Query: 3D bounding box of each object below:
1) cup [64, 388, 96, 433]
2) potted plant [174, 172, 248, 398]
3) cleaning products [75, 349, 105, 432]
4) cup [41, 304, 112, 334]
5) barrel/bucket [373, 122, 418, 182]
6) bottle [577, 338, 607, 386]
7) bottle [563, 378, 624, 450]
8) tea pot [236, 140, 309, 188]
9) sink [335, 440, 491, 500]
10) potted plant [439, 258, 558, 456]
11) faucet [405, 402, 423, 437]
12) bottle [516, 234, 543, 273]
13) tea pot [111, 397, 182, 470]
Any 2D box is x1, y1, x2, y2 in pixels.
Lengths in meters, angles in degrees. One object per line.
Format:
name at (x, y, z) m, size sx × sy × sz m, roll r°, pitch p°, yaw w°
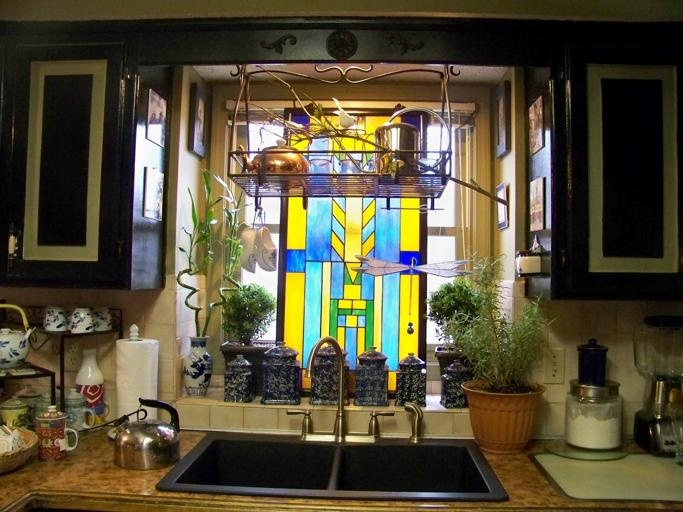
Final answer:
cup at (-1.099, 0.645, 2.736) m, size 0.163 × 0.163 × 0.099 m, roll 9°, pitch 5°, yaw 31°
potted plant at (-0.618, 0.212, 3.079) m, size 0.239 × 0.803 × 0.208 m, roll 3°, pitch -4°, yaw 41°
cleaning products at (-1.094, 0.582, 2.850) m, size 0.158 × 0.343 × 0.165 m, roll -4°, pitch -7°, yaw 4°
cup at (-1.104, 0.268, 2.767) m, size 0.188 × 0.075 × 0.134 m, roll 0°, pitch -2°, yaw -2°
barrel/bucket at (0.211, -0.402, 2.518) m, size 0.163 × 0.219 × 0.126 m, roll 1°, pitch 13°, yaw 2°
bottle at (1.018, 0.428, 2.673) m, size 0.111 × 0.189 × 0.113 m, roll 1°, pitch 5°, yaw 0°
bottle at (1.039, 0.648, 2.713) m, size 0.218 × 0.259 × 0.228 m, roll -1°, pitch 1°, yaw -4°
tea pot at (-0.254, -0.344, 2.542) m, size 0.217 × 0.131 × 0.151 m, roll 2°, pitch -2°, yaw -45°
sink at (0.284, 0.862, 2.620) m, size 0.568 × 0.187 × 0.251 m, roll 4°, pitch 15°, yaw 14°
potted plant at (0.669, 0.426, 2.746) m, size 0.412 × 0.722 × 0.320 m, roll -1°, pitch -7°, yaw 1°
faucet at (0.304, 0.683, 2.758) m, size 0.083 × 0.135 × 0.162 m, roll 2°, pitch 14°, yaw 6°
bottle at (0.756, 0.001, 2.650) m, size 0.120 × 0.212 × 0.155 m, roll 1°, pitch -2°, yaw 13°
tea pot at (-0.760, 0.680, 2.568) m, size 0.238 × 0.251 × 0.244 m, roll 0°, pitch -3°, yaw 0°
